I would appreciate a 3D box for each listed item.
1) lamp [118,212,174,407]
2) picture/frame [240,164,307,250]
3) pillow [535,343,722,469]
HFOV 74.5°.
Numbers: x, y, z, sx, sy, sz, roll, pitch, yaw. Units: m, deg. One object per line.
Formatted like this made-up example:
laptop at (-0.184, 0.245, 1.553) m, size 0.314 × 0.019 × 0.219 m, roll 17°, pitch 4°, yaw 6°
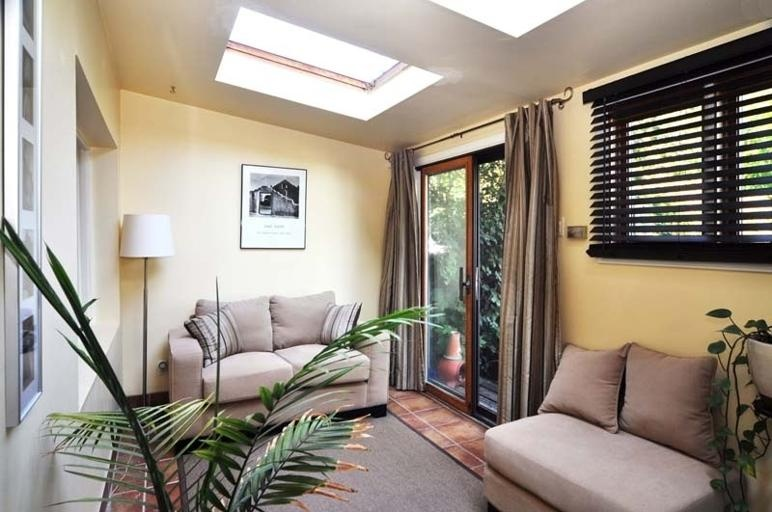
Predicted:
lamp at (-2.059, 0.486, 4.401) m, size 0.402 × 1.688 × 0.448 m, roll -2°, pitch 4°, yaw -29°
picture/frame at (-1.149, -0.489, 5.051) m, size 0.893 × 1.110 × 0.049 m, roll 0°, pitch 4°, yaw -28°
pillow at (1.541, 0.957, 3.157) m, size 0.183 × 0.421 × 0.732 m, roll 34°, pitch -23°, yaw -25°
